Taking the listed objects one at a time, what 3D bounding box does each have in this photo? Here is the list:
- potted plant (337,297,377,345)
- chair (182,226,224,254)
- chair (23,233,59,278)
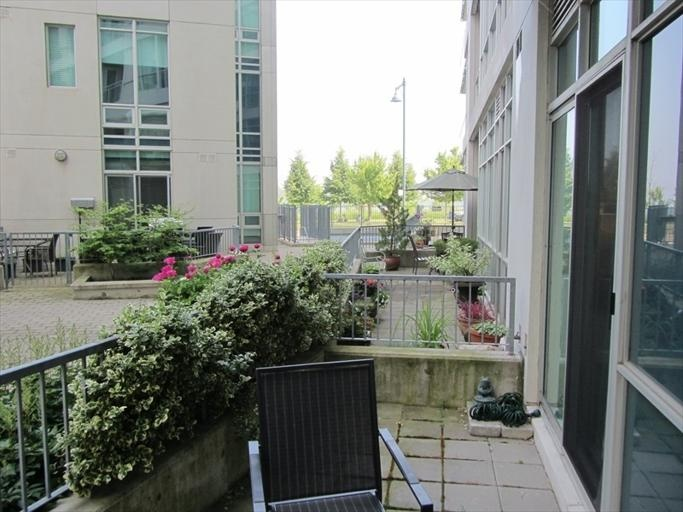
[{"bbox_3d":[0.220,0.866,7.985,0.478,0.279,0.713,0,5,1],"label":"potted plant"},{"bbox_3d":[-3.263,-0.335,13.849,0.574,0.643,1.475,8,8,12],"label":"chair"},{"bbox_3d":[-6.961,-0.022,13.553,0.705,1.034,1.220,2,10,-27],"label":"chair"}]
